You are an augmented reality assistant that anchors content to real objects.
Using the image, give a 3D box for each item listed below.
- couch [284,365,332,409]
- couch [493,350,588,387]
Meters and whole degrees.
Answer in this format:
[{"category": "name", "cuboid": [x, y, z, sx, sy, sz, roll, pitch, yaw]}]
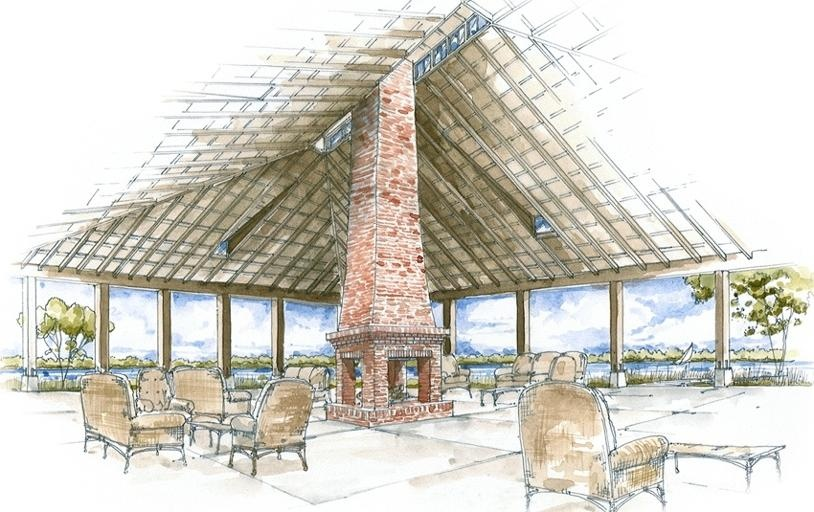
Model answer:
[{"category": "couch", "cuboid": [-3.129, 3.991, 21.365, 1.189, 1.409, 1.665, -5, -16, 24]}, {"category": "couch", "cuboid": [3.891, 3.486, 20.335, 1.117, 1.184, 3.006, 6, -8, -28]}]
